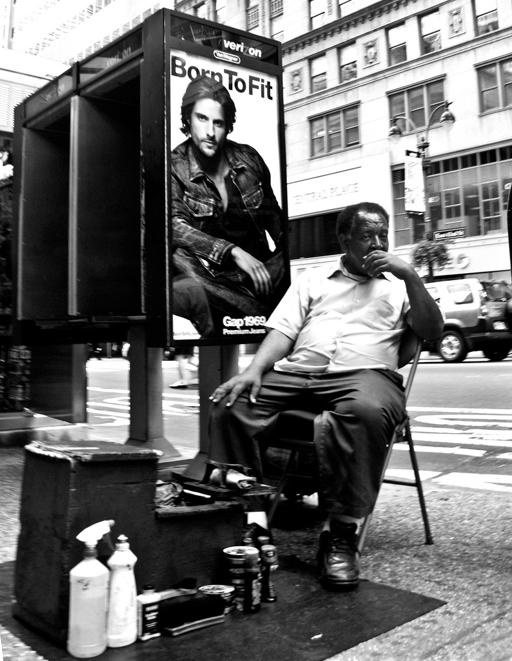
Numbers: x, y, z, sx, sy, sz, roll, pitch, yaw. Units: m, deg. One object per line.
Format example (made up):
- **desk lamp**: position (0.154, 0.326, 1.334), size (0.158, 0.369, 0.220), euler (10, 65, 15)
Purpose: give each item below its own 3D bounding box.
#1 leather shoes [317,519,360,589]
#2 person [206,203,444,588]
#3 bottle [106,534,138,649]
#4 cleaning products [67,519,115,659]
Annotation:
- **leather shoes**: position (0.292, 0.776, 2.333), size (0.210, 0.162, 0.361), euler (0, -1, 6)
- **person**: position (0.232, 0.228, 2.961), size (0.917, 1.410, 1.044), euler (-3, -2, 41)
- **bottle**: position (-0.359, 0.700, 1.817), size (0.108, 0.250, 0.160), euler (5, -1, -31)
- **cleaning products**: position (-0.419, 0.677, 1.792), size (0.109, 0.326, 0.179), euler (-2, 0, 32)
